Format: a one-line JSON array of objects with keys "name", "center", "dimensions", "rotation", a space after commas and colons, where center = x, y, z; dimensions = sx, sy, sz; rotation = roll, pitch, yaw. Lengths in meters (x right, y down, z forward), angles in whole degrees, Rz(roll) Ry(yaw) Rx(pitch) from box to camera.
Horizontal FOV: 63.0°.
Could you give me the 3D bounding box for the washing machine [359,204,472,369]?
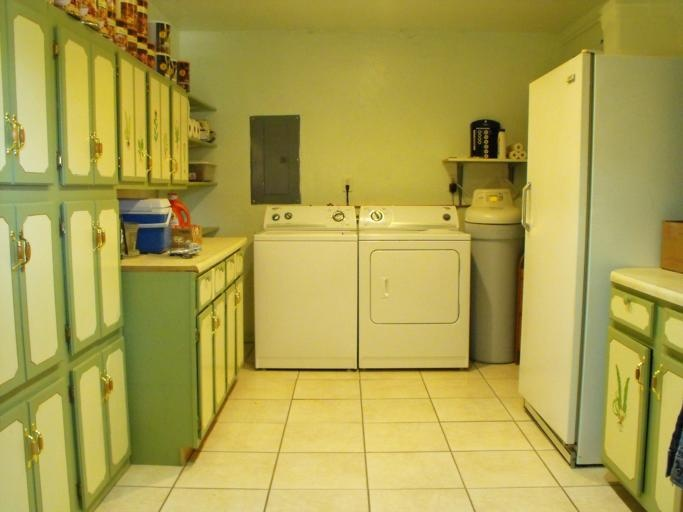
[{"name": "washing machine", "center": [0.542, 0.205, 4.546], "dimensions": [0.854, 1.158, 0.808], "rotation": [2, 8, 0]}]
